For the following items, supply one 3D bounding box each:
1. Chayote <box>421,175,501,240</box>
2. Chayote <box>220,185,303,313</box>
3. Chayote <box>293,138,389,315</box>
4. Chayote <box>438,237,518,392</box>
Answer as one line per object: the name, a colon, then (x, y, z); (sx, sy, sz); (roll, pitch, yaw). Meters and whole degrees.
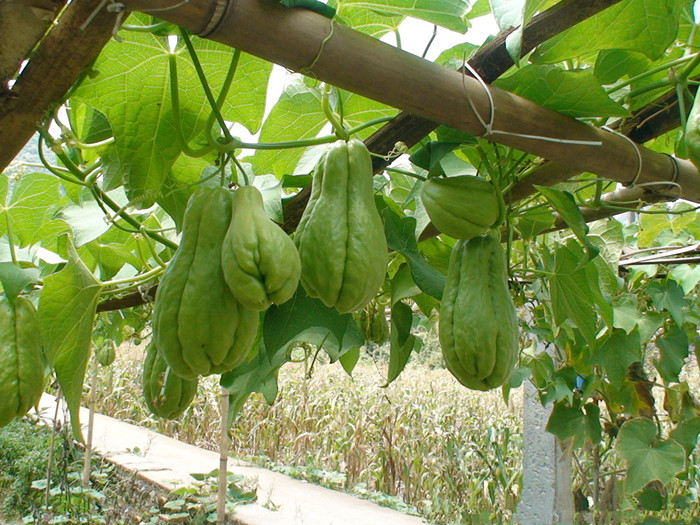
Chayote: (0.193, -0.086, 1.095); (0.120, 0.100, 0.054); (33, -12, 9)
Chayote: (-0.143, -0.030, 0.959); (0.119, 0.225, 0.110); (-14, -38, -11)
Chayote: (-0.012, -0.065, 0.974); (0.151, 0.283, 0.057); (4, -11, 4)
Chayote: (0.212, 0.077, 1.022); (0.124, 0.256, 0.054); (2, -11, 15)
